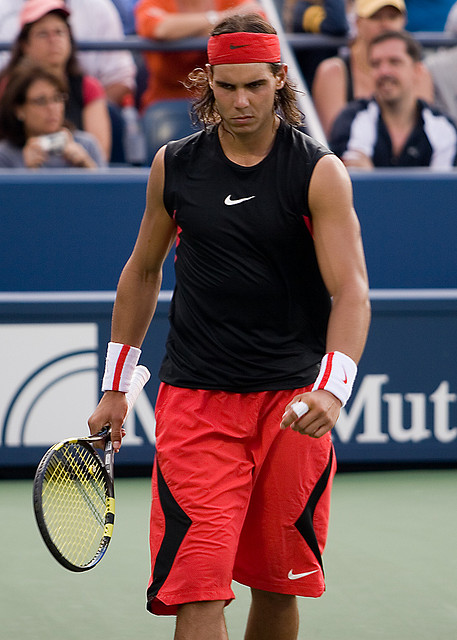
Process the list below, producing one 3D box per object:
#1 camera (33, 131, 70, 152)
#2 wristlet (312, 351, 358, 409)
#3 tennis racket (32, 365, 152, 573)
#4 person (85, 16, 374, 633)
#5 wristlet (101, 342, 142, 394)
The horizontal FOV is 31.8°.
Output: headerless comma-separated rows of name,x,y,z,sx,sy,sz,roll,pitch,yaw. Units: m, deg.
camera,-0.807,-0.825,3.734,0.083,0.029,0.104,-16,-10,-2
wristlet,0.227,0.125,1.753,0.084,0.100,0.122,2,53,32
tennis racket,-0.506,0.520,2.858,0.119,0.363,0.860,-21,27,21
person,-0.010,0.030,1.858,0.689,1.244,0.855,-13,32,-11
wristlet,-0.289,0.127,2.117,0.080,0.132,0.114,9,34,23
